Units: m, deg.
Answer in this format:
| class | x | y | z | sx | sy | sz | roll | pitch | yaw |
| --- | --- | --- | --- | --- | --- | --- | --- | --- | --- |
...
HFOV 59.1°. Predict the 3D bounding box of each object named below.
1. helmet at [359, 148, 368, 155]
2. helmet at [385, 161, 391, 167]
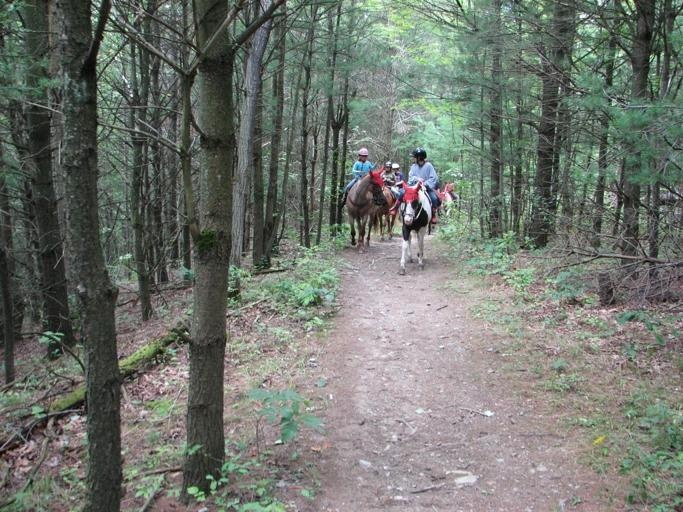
| class | x | y | z | sx | sy | sz | roll | pitch | yaw |
| --- | --- | --- | --- | --- | --- | --- | --- | --- | --- |
| helmet | 0.752 | -3.510 | 20.452 | 0.343 | 0.213 | 0.486 | 1 | 10 | -5 |
| helmet | 1.761 | -3.416 | 22.506 | 0.393 | 0.201 | 0.587 | 2 | 10 | 4 |
